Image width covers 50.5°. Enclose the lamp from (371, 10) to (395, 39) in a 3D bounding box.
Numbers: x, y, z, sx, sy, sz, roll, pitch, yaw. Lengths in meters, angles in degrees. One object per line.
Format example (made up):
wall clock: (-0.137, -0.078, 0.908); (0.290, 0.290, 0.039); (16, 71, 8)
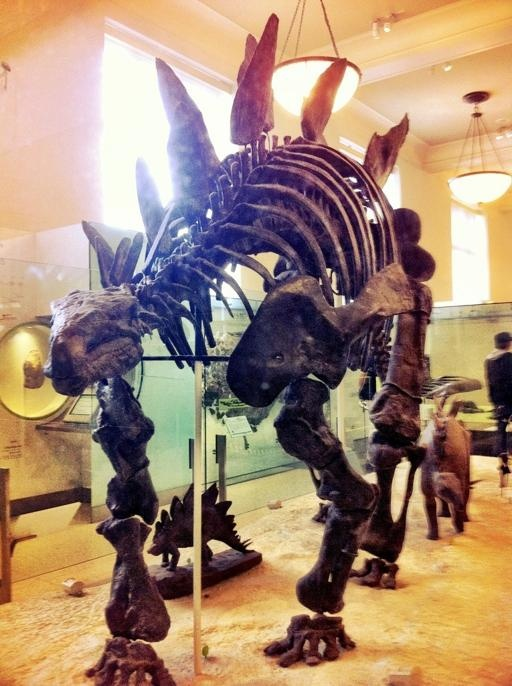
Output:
lamp: (1.171, -2.992, 5.081); (0.271, 0.114, 0.187); (-14, -14, -19)
